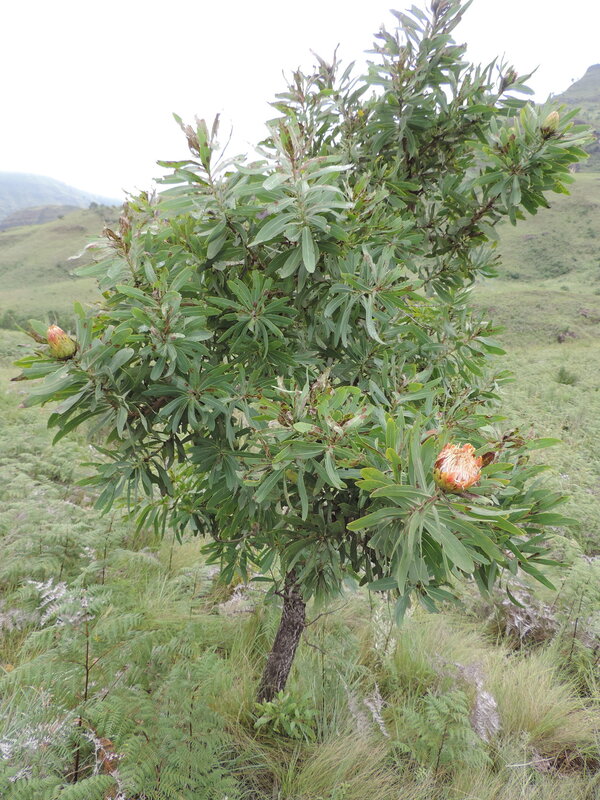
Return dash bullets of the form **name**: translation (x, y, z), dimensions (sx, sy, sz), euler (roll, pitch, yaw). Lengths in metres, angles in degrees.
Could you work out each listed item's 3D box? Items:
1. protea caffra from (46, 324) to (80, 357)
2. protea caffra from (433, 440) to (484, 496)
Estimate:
- **protea caffra**: translation (-0.726, -0.168, 1.715), dimensions (0.090, 0.105, 0.080), euler (0, 11, 0)
- **protea caffra**: translation (0.419, 0.180, 1.490), dimensions (0.141, 0.138, 0.084), euler (-1, 11, -8)
